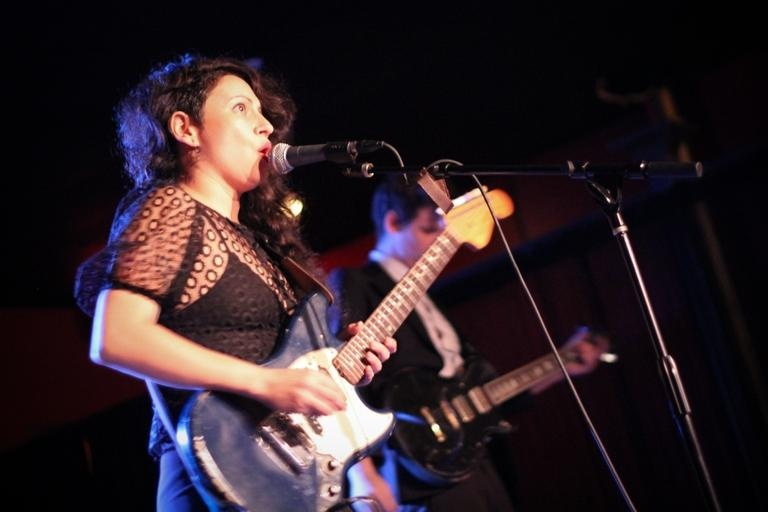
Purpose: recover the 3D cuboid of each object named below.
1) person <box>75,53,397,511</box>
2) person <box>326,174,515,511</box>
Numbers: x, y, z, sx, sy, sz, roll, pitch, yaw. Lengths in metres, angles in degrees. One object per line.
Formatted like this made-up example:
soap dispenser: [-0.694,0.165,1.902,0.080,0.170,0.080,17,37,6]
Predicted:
person: [-0.762,-0.225,3.670,0.383,2.627,1.330,-25,-36,39]
person: [0.134,0.497,4.741,0.941,2.323,0.283,39,-48,-22]
